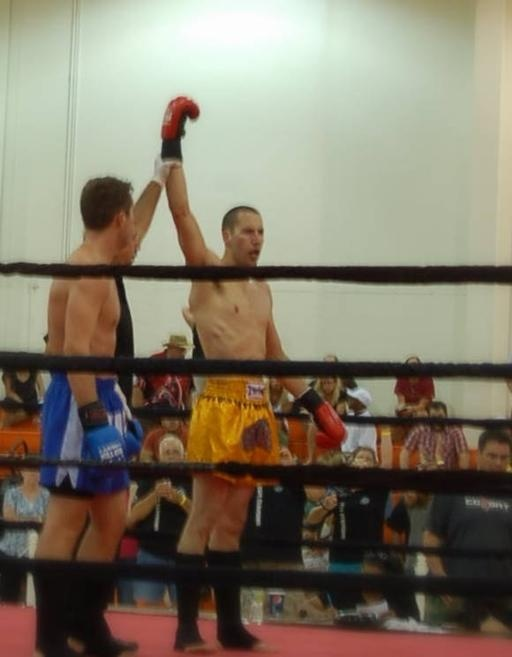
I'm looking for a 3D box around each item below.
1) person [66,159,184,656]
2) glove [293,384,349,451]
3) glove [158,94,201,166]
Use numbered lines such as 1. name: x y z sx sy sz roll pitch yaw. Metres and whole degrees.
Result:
1. person: -0.390 0.273 2.066 0.169 1.387 0.218 19 16 42
2. glove: 0.177 0.239 2.095 0.075 0.187 0.116 -7 38 48
3. glove: -0.177 -0.462 1.830 0.083 0.148 0.053 0 4 -17
